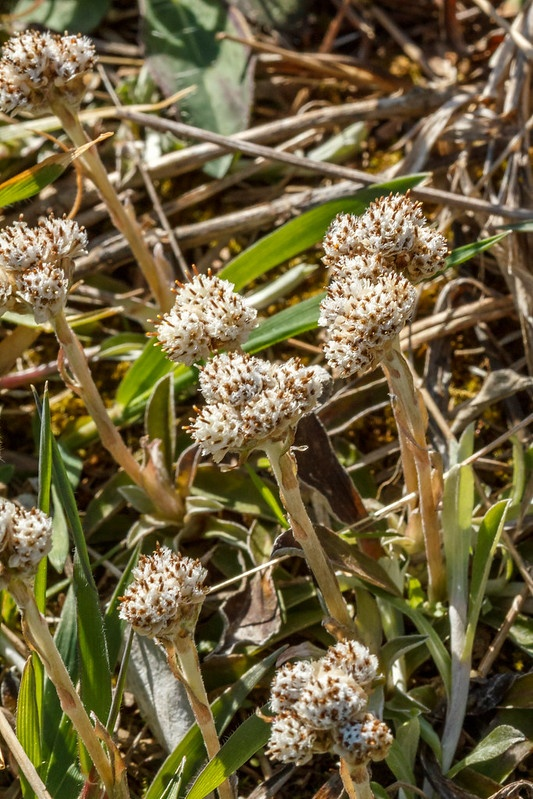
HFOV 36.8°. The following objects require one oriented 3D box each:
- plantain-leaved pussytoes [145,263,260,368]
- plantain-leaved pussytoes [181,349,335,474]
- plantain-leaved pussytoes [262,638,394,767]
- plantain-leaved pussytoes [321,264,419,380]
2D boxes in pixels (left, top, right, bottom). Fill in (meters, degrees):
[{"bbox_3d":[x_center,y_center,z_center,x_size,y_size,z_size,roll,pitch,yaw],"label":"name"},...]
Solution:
[{"bbox_3d":[-0.091,-0.111,1.011,0.115,0.094,0.143,-27,47,-17],"label":"plantain-leaved pussytoes"},{"bbox_3d":[-0.005,0.016,0.922,0.135,0.127,0.123,-25,40,18],"label":"plantain-leaved pussytoes"},{"bbox_3d":[0.060,0.303,0.868,0.125,0.132,0.126,-7,88,-7],"label":"plantain-leaved pussytoes"},{"bbox_3d":[0.135,-0.078,0.991,0.117,0.086,0.126,-4,58,62],"label":"plantain-leaved pussytoes"}]
